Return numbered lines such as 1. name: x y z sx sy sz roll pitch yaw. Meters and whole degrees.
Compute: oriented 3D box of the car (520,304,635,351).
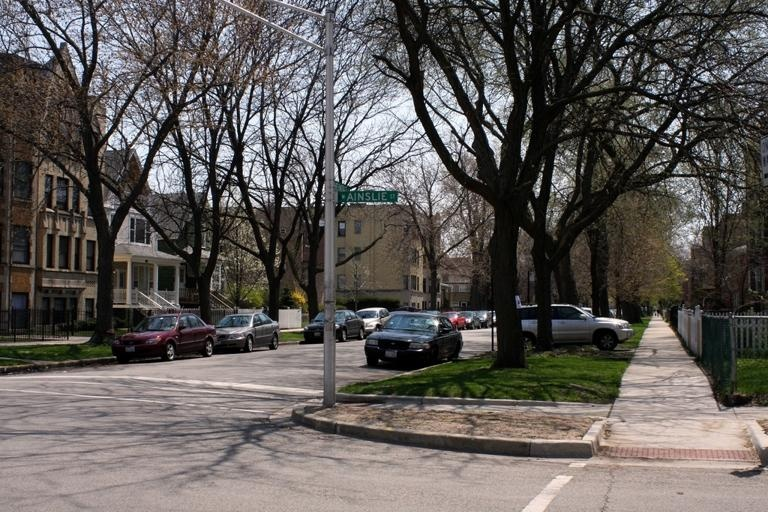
1. car: 8.661 3.180 32.479 4.781 2.136 1.876 0 -7 -6
